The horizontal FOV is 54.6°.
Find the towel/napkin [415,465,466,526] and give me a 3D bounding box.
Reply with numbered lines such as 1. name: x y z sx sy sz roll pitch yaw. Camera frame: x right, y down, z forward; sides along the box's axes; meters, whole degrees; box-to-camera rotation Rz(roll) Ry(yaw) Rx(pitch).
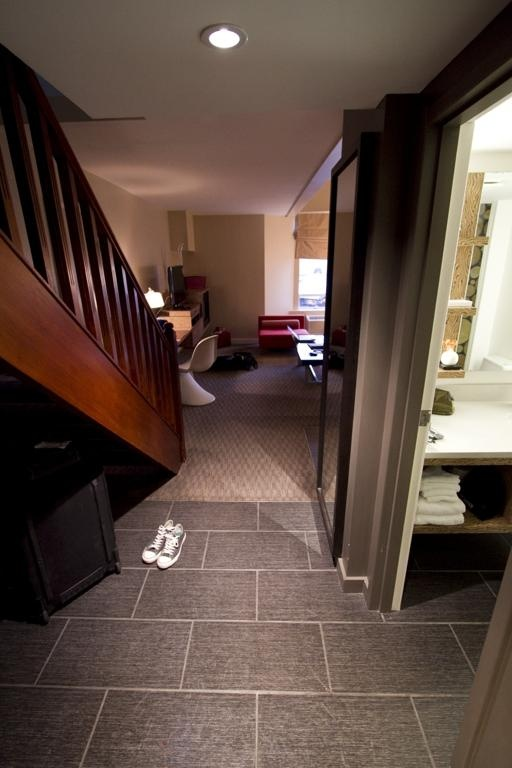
1. towel/napkin: 0.840 0.543 2.331 0.230 0.100 0.233 -1 7 -2

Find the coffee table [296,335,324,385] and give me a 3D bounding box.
1. coffee table: 0.605 -0.264 5.581 0.244 0.173 0.634 1 18 0

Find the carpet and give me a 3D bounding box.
1. carpet: 0.009 0.220 4.633 0.852 0.025 2.120 12 28 -5
